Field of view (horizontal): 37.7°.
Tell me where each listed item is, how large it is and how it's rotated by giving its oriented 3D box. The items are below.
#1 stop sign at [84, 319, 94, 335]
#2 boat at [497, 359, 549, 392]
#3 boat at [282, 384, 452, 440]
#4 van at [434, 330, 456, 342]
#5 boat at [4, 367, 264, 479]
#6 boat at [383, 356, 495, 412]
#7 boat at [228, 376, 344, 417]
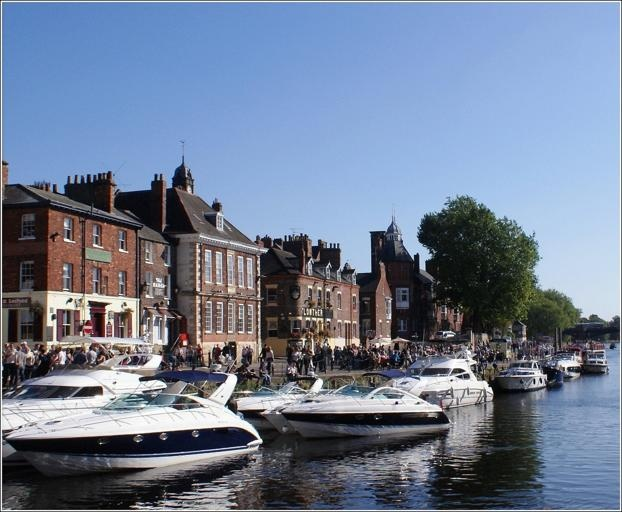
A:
[{"bbox_3d":[-12.770,4.063,51.949,0.557,0.891,0.201,1,-2,-9],"label":"stop sign"},{"bbox_3d":[15.468,8.584,66.142,2.484,2.471,7.289,-4,-5,30],"label":"boat"},{"bbox_3d":[2.562,7.243,42.277,8.045,2.629,3.927,2,-8,-20],"label":"boat"},{"bbox_3d":[15.449,9.113,105.030,1.575,1.041,3.016,-3,-9,28],"label":"van"},{"bbox_3d":[-6.422,6.095,33.415,9.078,3.218,5.933,12,-24,-43],"label":"boat"},{"bbox_3d":[7.113,7.185,51.030,2.580,2.366,5.217,-1,-2,36],"label":"boat"},{"bbox_3d":[-2.557,6.963,44.284,2.466,1.963,5.437,-13,-10,41],"label":"boat"}]
